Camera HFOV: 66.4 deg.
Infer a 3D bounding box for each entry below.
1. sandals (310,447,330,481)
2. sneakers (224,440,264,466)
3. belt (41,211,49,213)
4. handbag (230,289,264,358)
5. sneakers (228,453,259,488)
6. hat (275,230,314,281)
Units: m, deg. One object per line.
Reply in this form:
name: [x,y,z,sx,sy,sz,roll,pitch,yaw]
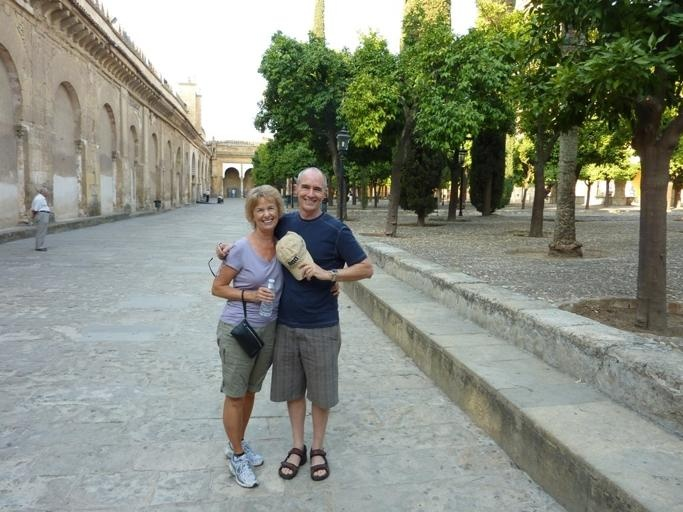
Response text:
sandals: [-0.141,1.390,3.456,0.083,0.083,0.228,-1,-2,-7]
sneakers: [-0.677,1.339,3.557,0.261,0.115,0.089,34,32,14]
belt: [-7.636,-1.150,13.382,0.105,0.027,0.064,8,9,-2]
handbag: [-0.604,0.433,3.434,0.129,0.356,0.243,-42,8,-26]
sneakers: [-0.635,1.381,3.370,0.111,0.128,0.282,0,5,-40]
hat: [-0.291,-0.009,3.511,0.212,0.318,0.136,-38,-19,14]
